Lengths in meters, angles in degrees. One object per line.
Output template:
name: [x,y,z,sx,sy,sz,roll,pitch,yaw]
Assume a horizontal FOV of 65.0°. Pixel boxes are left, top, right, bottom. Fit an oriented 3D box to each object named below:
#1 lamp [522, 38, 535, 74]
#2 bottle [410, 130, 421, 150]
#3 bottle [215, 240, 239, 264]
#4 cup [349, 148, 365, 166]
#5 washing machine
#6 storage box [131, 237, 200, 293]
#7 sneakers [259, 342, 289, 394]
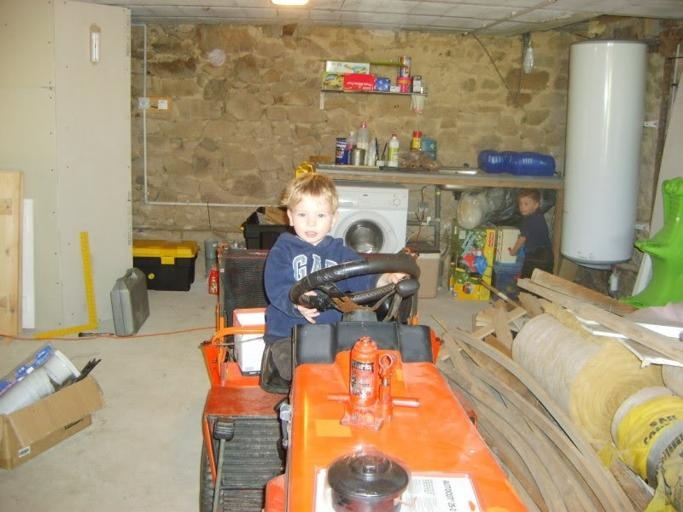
lamp: [2.171,-2.360,6.244,0.141,0.421,0.177,5,14,27]
bottle: [0.874,-1.356,6.265,0.132,0.236,0.216,0,13,7]
bottle: [-0.962,-0.032,4.530,0.223,0.221,0.158,3,14,2]
cup: [0.184,-1.117,6.045,0.188,0.214,0.187,0,6,0]
washing machine: [0.284,-0.460,6.131,1.022,1.019,0.713,1,9,-8]
storage box: [-1.953,0.091,6.153,0.695,0.429,0.490,0,20,-5]
sneakers: [-0.311,0.541,2.716,0.197,0.253,0.091,8,17,27]
